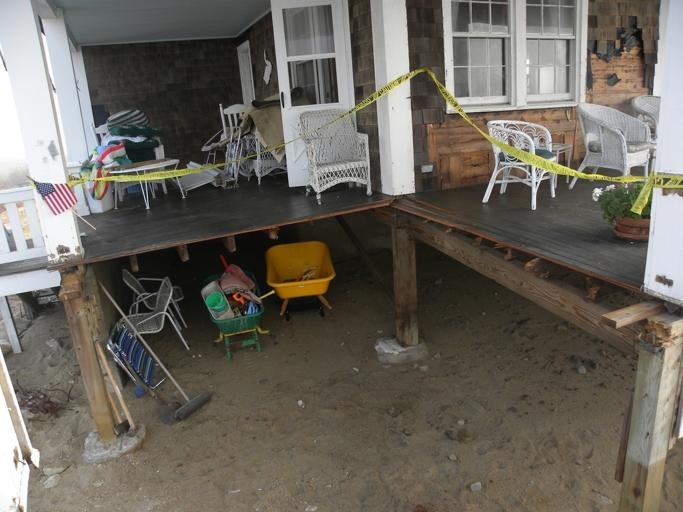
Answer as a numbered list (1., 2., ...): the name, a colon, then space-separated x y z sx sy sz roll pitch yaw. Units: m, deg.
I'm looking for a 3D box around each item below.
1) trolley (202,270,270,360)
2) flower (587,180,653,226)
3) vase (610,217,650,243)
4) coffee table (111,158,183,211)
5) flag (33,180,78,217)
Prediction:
1. trolley: -1.549 0.844 6.790 0.938 0.769 1.120 -5 56 -13
2. flower: 2.404 -0.458 4.024 0.451 0.249 0.419 2 -2 -27
3. vase: 2.433 -0.227 3.918 0.231 0.152 0.218 -7 19 -15
4. coffee table: -3.051 -1.096 7.214 0.876 0.512 1.011 7 25 21
5. flag: -2.783 -0.552 4.483 0.436 0.305 0.046 -2 1 -12
